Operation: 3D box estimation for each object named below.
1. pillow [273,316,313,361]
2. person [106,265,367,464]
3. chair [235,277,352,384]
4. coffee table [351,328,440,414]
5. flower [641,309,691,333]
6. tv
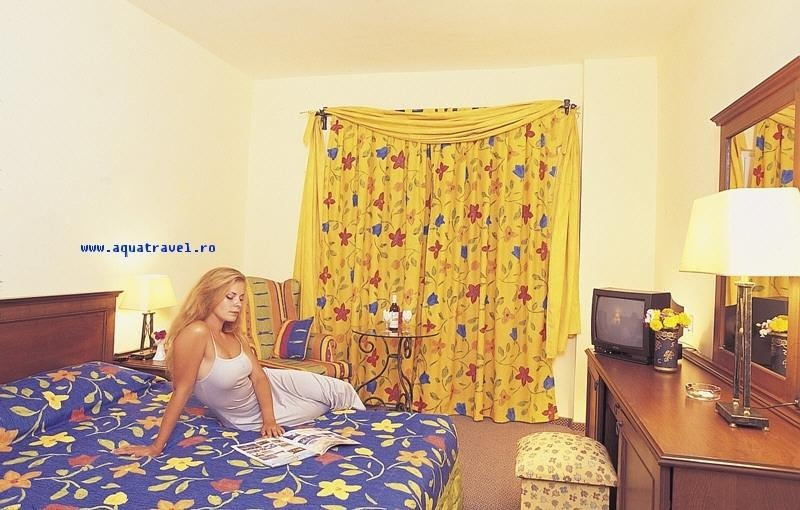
[{"bbox_3d":[-1.014,0.805,5.358,0.346,0.365,0.109,4,-16,34],"label":"pillow"},{"bbox_3d":[-0.967,0.769,3.859,1.814,1.210,0.832,3,-1,-35],"label":"person"},{"bbox_3d":[-0.841,0.708,5.589,1.032,1.241,0.875,-4,-5,39],"label":"chair"},{"bbox_3d":[-0.063,1.096,5.567,0.860,0.806,0.804,1,-5,-6],"label":"coffee table"},{"bbox_3d":[1.931,0.473,4.120,0.202,0.105,0.226,-2,1,-14],"label":"flower"},{"bbox_3d":[1.855,0.538,4.639,0.484,0.798,0.781,2,-2,-28],"label":"tv"}]
